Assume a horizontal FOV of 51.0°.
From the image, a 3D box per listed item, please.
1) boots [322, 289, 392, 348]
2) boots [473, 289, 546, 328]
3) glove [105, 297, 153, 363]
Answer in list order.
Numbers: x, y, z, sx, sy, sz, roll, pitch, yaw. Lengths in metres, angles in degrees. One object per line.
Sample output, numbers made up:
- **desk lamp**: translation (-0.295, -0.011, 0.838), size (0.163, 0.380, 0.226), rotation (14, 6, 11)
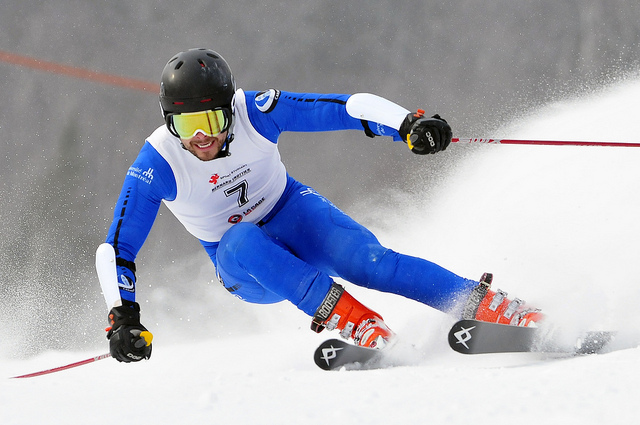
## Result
- **boots**: translation (0.274, 0.808, 5.011), size (0.645, 0.208, 0.308), rotation (38, -4, 4)
- **boots**: translation (1.328, 0.676, 4.809), size (0.192, 0.244, 0.589), rotation (1, -1, -36)
- **glove**: translation (-1.241, 0.776, 4.541), size (0.301, 0.400, 0.202), rotation (-26, 1, 29)
